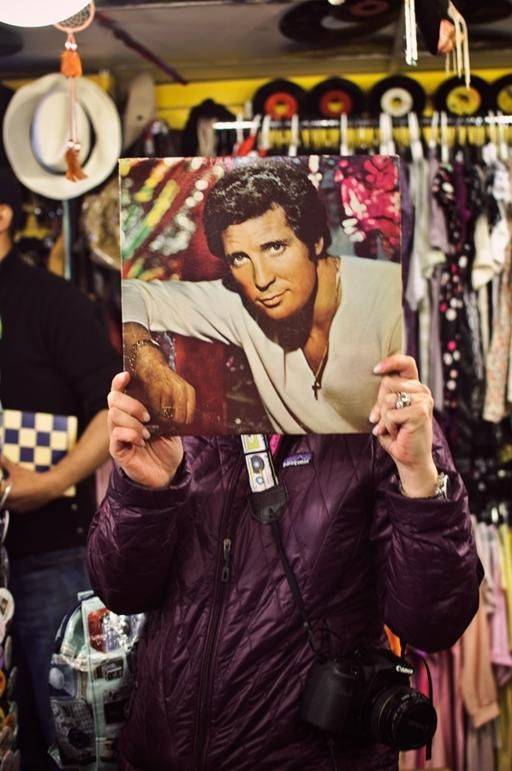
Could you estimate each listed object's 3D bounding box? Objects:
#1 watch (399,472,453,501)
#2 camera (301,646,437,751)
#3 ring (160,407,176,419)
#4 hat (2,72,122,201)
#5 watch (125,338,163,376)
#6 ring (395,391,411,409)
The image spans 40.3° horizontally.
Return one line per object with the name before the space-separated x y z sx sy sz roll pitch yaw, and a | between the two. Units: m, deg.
watch | 0.248 0.136 0.993 0.038 0.021 0.049 -8 40 -14
camera | 0.193 0.475 1.055 0.200 0.132 0.147 21 -7 -30
ring | -0.128 0.039 1.006 0.019 0.017 0.004 -2 5 -20
hat | -0.586 -0.749 2.107 0.342 0.367 0.108 0 5 2
watch | -0.177 -0.038 1.008 0.038 0.055 0.021 4 -4 -8
ring | 0.201 0.020 0.957 0.019 0.019 0.022 0 -3 8
